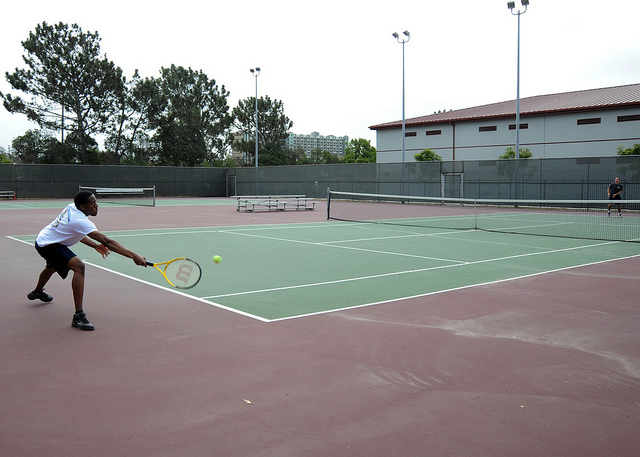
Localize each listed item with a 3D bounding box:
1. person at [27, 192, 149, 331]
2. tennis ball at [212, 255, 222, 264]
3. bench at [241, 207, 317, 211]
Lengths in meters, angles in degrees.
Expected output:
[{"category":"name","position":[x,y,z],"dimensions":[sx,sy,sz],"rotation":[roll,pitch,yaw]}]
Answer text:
[{"category":"person","position":[-2.980,0.337,6.166],"dimensions":[1.685,1.591,0.852],"rotation":[10,8,27]},{"category":"tennis ball","position":[-1.775,0.527,8.503],"dimensions":[0.206,0.116,0.209],"rotation":[3,-9,0]},{"category":"bench","position":[-2.345,-1.223,28.326],"dimensions":[4.468,0.154,2.934],"rotation":[-1,5,-19]}]
